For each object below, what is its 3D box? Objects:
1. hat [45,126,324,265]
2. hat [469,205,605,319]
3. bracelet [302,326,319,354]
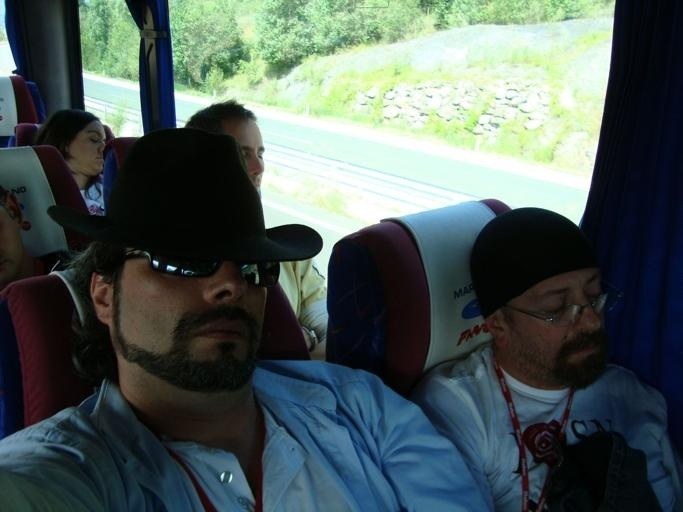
[{"bbox_3d":[-0.420,-0.145,1.696,0.475,0.201,0.419,12,5,37],"label":"hat"},{"bbox_3d":[0.688,-0.022,2.249,0.383,0.325,0.399,-21,-1,29],"label":"hat"},{"bbox_3d":[-0.136,0.368,2.793,0.084,0.045,0.114,11,41,-56],"label":"bracelet"}]
